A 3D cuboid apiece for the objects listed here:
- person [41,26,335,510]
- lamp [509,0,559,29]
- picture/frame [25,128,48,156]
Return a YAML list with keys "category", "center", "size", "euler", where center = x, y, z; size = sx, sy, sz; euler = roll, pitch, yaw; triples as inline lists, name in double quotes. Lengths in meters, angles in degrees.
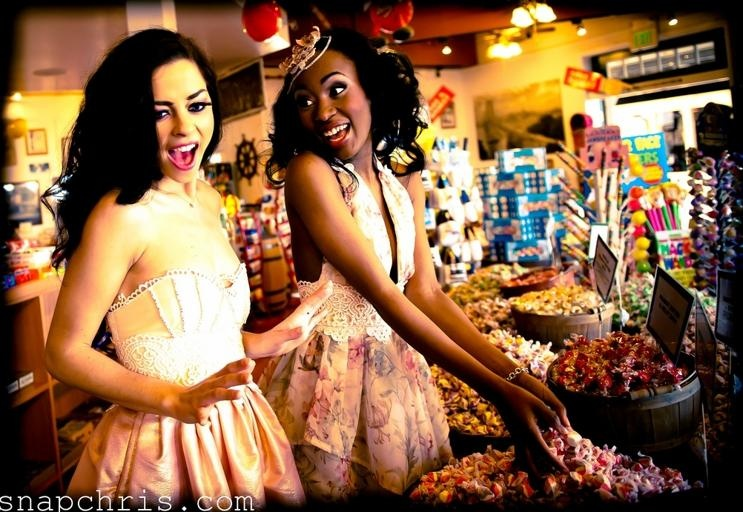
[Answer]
- category: "person"
  center: [-0.565, 0.051, 1.426]
  size: [0.702, 1.015, 0.511]
  euler: [-2, 3, 21]
- category: "lamp"
  center: [1.299, -1.939, 4.254]
  size: [0.381, 0.132, 0.366]
  euler: [-3, -3, -14]
- category: "picture/frame"
  center: [-3.162, -1.080, 4.940]
  size: [0.220, 0.308, 0.031]
  euler: [-9, 33, -33]
